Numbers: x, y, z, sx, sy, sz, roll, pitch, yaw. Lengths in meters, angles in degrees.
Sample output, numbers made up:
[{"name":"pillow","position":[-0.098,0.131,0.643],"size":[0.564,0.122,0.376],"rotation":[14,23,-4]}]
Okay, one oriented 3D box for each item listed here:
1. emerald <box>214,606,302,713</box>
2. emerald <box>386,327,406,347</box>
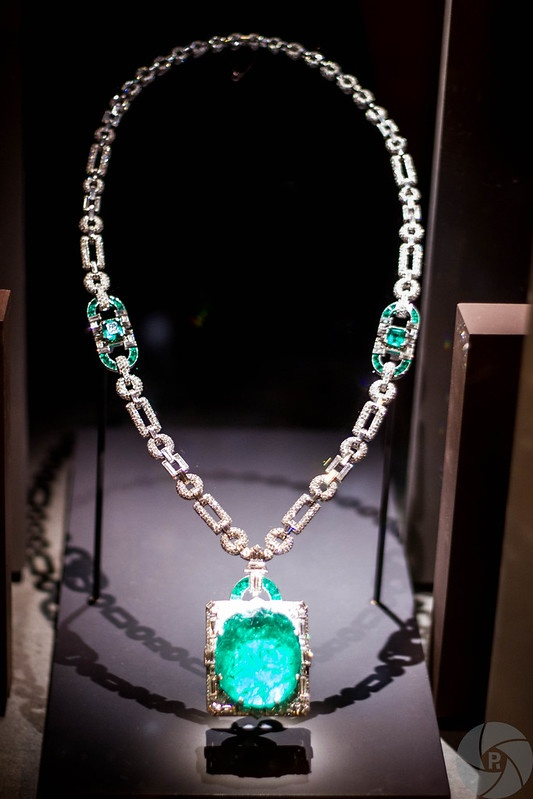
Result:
[{"name":"emerald","position":[-0.014,0.353,1.052],"size":[0.114,0.092,0.109],"rotation":[-5,-63,-7]},{"name":"emerald","position":[0.198,-0.096,1.194],"size":[0.025,0.010,0.032],"rotation":[8,-66,9]}]
